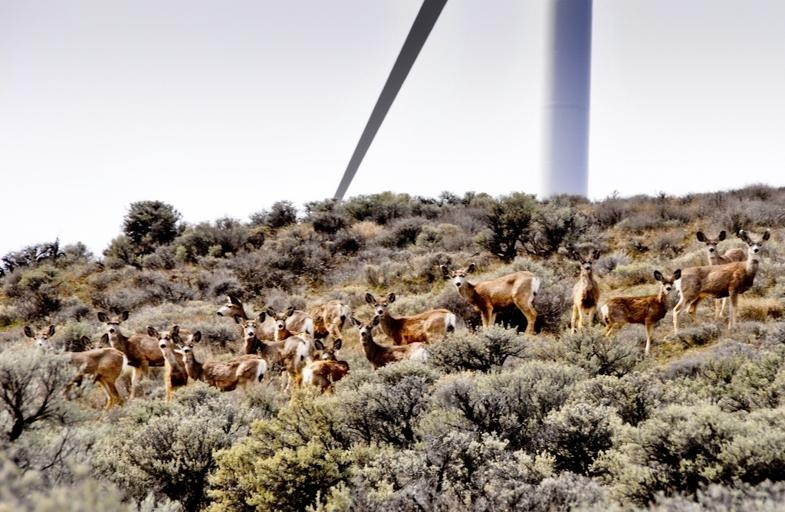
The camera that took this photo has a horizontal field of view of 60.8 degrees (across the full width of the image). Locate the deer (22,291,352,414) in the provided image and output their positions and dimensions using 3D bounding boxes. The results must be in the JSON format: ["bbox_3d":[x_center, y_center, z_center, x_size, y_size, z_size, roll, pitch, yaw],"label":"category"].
[{"bbox_3d":[-5.902,2.461,16.116,7.017,2.229,2.613,1,-7,12],"label":"deer"}]

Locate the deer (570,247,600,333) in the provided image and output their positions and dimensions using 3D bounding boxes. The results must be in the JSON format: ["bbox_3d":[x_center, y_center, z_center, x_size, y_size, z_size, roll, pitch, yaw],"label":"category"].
[{"bbox_3d":[4.620,0.924,16.328,0.853,2.229,1.258,2,1,-1],"label":"deer"}]

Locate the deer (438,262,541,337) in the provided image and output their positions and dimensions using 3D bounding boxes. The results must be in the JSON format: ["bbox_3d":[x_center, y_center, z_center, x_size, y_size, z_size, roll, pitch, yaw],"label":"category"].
[{"bbox_3d":[2.485,0.988,17.159,1.857,2.096,1.787,-3,4,-30],"label":"deer"}]

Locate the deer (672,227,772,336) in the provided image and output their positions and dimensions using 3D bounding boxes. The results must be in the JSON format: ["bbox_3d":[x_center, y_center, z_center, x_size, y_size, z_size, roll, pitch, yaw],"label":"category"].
[{"bbox_3d":[7.576,0.596,15.658,1.890,2.506,0.908,0,-8,23],"label":"deer"}]

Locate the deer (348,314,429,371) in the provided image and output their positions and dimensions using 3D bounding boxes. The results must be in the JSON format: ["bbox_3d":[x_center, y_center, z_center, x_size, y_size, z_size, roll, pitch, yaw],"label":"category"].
[{"bbox_3d":[-0.112,1.939,15.097,1.846,1.186,1.053,-3,-9,41],"label":"deer"}]
